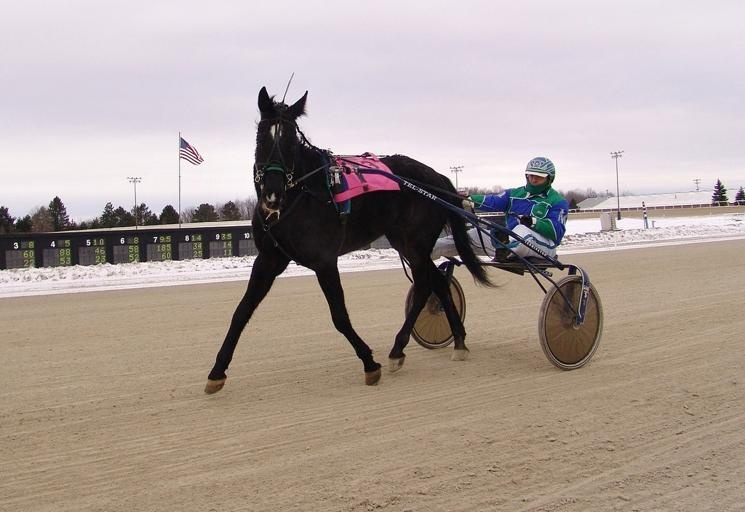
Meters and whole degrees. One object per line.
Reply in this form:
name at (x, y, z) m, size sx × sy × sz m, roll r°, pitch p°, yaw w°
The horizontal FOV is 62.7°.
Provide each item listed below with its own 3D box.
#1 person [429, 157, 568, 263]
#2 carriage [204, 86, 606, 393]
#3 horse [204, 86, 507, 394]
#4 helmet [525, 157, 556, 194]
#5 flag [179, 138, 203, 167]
person at (1.382, -0.510, 6.448) m, size 1.645 × 1.150 × 1.208 m, roll 1°, pitch 6°, yaw -35°
carriage at (0.318, -0.202, 6.459) m, size 4.262 × 2.646 × 1.040 m, roll -4°, pitch -2°, yaw -38°
horse at (-0.076, -0.105, 6.213) m, size 3.236 × 2.616 × 0.920 m, roll 1°, pitch -3°, yaw -40°
helmet at (1.808, -0.875, 6.597) m, size 0.379 × 0.412 × 0.308 m, roll -15°, pitch 24°, yaw -38°
flag at (-6.927, -3.946, 23.201) m, size 0.699 × 0.985 × 1.329 m, roll -6°, pitch 10°, yaw -26°
